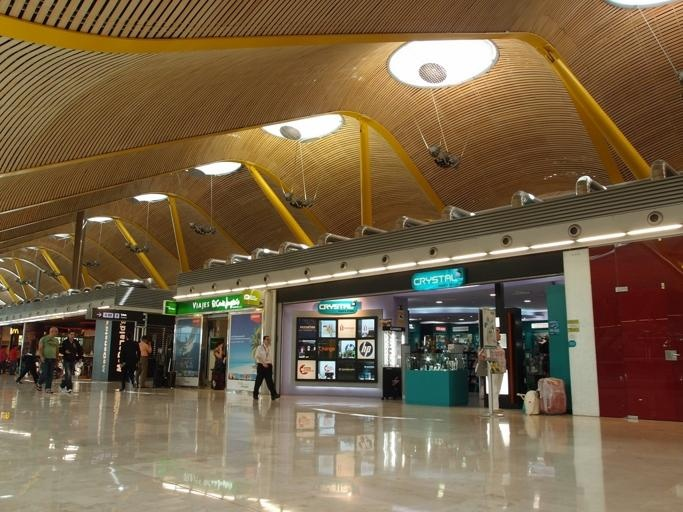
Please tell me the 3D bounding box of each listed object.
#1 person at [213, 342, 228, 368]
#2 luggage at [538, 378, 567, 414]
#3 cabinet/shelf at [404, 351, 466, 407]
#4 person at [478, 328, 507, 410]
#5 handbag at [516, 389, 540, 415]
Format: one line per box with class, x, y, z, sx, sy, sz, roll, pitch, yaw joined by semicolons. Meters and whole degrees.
person;-4.981;3.941;20.418;0.474;0.963;1.213;3;-11;-16
luggage;4.663;3.080;11.221;0.700;0.887;0.524;3;-10;-25
cabinet/shelf;2.638;3.382;14.073;1.432;1.310;1.000;-11;-23;40
person;3.299;2.577;11.092;0.587;1.673;1.121;-4;-12;16
handbag;4.199;3.187;11.151;0.582;0.527;0.474;-1;-7;-7
